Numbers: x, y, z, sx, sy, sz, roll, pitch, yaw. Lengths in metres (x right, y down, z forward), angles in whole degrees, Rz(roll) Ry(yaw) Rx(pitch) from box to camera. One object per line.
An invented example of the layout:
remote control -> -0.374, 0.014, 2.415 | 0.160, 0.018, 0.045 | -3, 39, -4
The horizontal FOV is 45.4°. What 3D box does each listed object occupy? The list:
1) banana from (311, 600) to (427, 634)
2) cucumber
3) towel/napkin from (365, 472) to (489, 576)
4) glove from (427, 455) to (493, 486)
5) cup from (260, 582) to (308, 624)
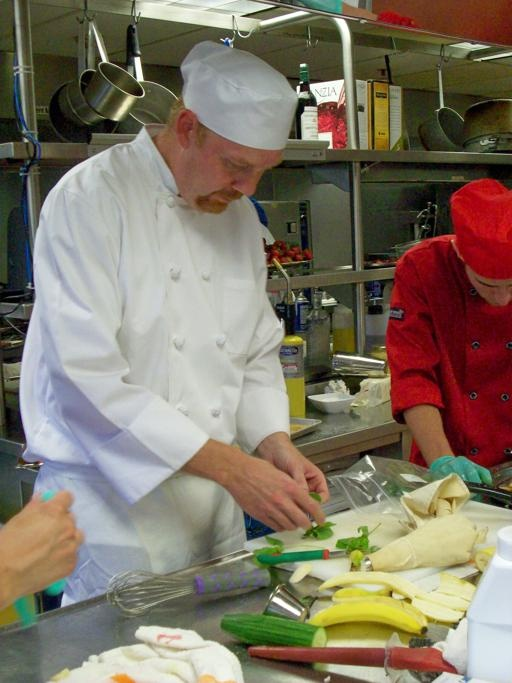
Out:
banana -> 0.131, 0.314, 0.696 | 0.120, 0.028, 0.025 | -1, 17, 13
cucumber -> 0.024, 0.306, 0.687 | 0.128, 0.038, 0.039 | 5, -15, 18
towel/napkin -> 0.246, 0.260, 0.931 | 0.145, 0.053, 0.131 | -15, 17, -11
glove -> 0.413, 0.242, 1.241 | 0.082, 0.042, 0.102 | 9, 2, -25
cup -> 0.036, 0.311, 0.736 | 0.038, 0.034, 0.033 | 14, -32, 27
